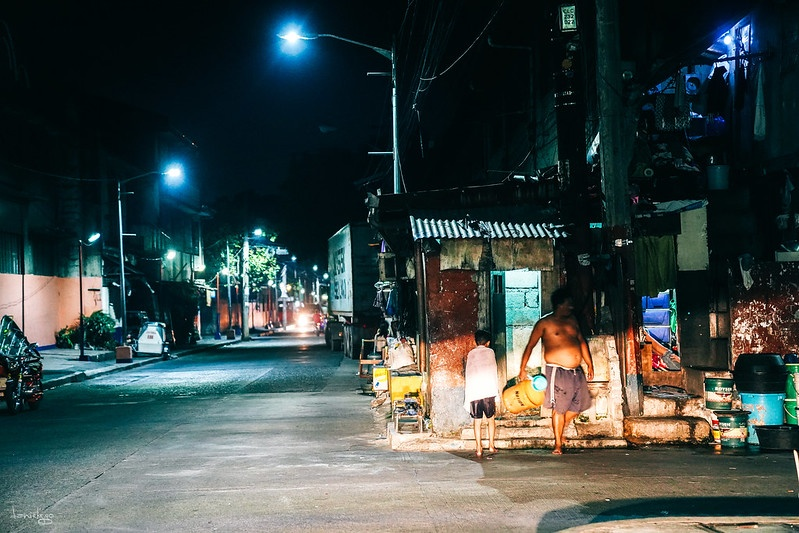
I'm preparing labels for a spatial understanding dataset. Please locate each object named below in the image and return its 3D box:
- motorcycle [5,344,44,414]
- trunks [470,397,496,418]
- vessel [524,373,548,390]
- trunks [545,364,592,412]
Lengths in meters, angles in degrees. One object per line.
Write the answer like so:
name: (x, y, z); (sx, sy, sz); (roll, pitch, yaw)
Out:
motorcycle: (-9.960, 2.989, 21.972); (0.536, 1.824, 1.682); (-2, -5, -2)
trunks: (1.651, 2.833, 16.445); (0.607, 0.470, 0.371); (-1, 4, -2)
vessel: (2.778, 2.332, 16.567); (0.238, 0.317, 0.217); (-2, 6, 15)
trunks: (3.307, 2.438, 16.425); (0.914, 0.916, 0.503); (1, -7, -20)
